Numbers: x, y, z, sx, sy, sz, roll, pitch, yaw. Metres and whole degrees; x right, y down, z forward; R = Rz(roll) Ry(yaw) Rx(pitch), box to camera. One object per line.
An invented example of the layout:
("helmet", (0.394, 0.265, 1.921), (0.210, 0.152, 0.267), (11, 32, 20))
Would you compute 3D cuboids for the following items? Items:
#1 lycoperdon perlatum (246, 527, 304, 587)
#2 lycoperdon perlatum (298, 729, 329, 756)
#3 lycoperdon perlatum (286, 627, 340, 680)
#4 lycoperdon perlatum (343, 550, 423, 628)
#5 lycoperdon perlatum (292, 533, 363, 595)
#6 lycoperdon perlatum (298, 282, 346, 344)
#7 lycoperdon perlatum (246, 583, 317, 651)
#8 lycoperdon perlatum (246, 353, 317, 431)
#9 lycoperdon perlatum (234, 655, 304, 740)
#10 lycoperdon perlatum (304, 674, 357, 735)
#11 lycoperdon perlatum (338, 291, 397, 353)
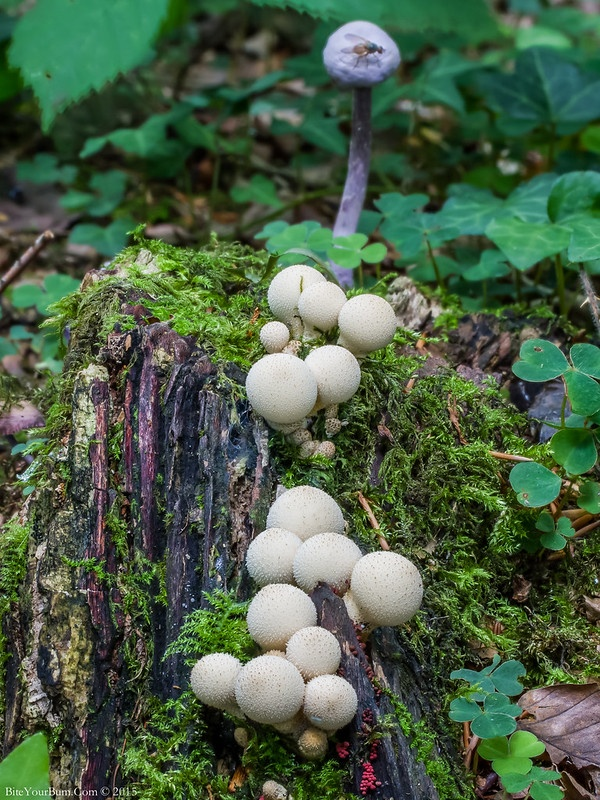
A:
("lycoperdon perlatum", (-0.078, 0.454, 2.373), (0.187, 0.153, 0.159), (-16, 71, 30))
("lycoperdon perlatum", (0.036, 0.934, 2.267), (0.092, 0.076, 0.045), (4, 26, 13))
("lycoperdon perlatum", (0.054, 0.687, 2.237), (0.154, 0.146, 0.136), (0, 82, 5))
("lycoperdon perlatum", (0.256, 0.517, 2.310), (0.241, 0.211, 0.197), (1, 89, 8))
("lycoperdon perlatum", (0.076, 0.462, 2.409), (0.171, 0.188, 0.146), (-12, 104, 28))
("lycoperdon perlatum", (0.066, -0.298, 2.822), (0.196, 0.235, 0.165), (-1, 40, -3))
("lycoperdon perlatum", (-0.045, 0.583, 2.270), (0.197, 0.191, 0.172), (1, 95, 2))
("lycoperdon perlatum", (-0.064, -0.036, 2.607), (0.221, 0.205, 0.157), (18, 53, 9))
("lycoperdon perlatum", (-0.072, 0.759, 2.115), (0.191, 0.187, 0.147), (2, 95, 4))
("lycoperdon perlatum", (0.076, 0.792, 2.158), (0.157, 0.147, 0.145), (2, 89, 1))
("lycoperdon perlatum", (0.222, -0.256, 2.736), (0.184, 0.157, 0.145), (2, 51, -3))
